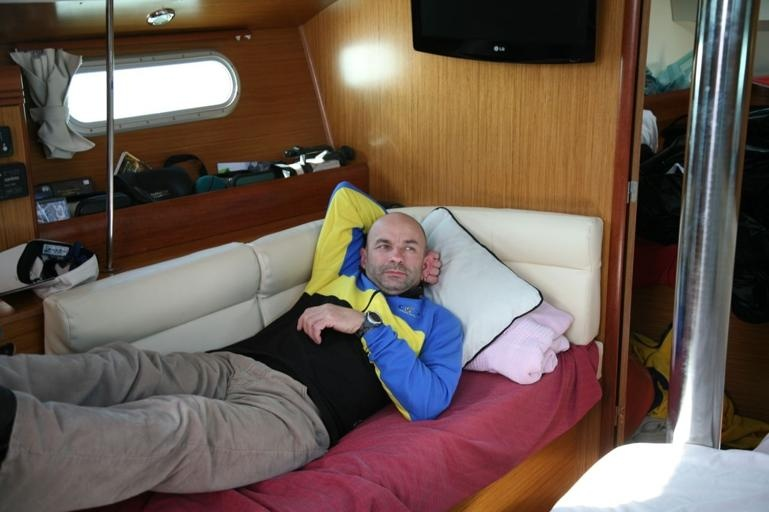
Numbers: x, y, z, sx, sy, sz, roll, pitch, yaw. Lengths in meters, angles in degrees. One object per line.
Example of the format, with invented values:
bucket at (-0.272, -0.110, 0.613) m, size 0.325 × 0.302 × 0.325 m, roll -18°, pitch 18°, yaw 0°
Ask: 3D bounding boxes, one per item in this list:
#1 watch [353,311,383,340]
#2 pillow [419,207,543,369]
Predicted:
watch at (-0.051, 0.240, 1.982) m, size 0.068 × 0.099 × 0.105 m, roll 43°, pitch 17°, yaw 10°
pillow at (0.361, 0.111, 2.226) m, size 0.388 × 0.105 × 0.583 m, roll -39°, pitch 62°, yaw -15°
